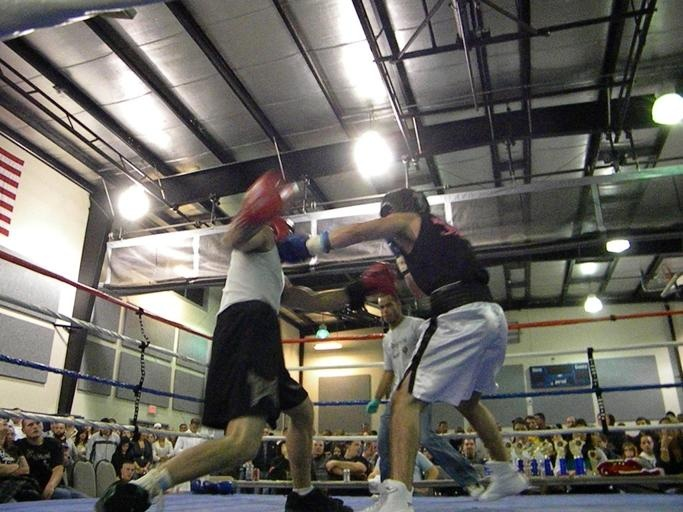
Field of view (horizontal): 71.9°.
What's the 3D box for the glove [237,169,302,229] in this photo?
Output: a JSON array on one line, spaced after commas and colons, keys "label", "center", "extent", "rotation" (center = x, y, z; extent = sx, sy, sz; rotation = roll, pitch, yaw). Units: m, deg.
[{"label": "glove", "center": [-0.303, -0.225, 1.934], "extent": [0.134, 0.180, 0.247], "rotation": [24, -18, -10]}]
